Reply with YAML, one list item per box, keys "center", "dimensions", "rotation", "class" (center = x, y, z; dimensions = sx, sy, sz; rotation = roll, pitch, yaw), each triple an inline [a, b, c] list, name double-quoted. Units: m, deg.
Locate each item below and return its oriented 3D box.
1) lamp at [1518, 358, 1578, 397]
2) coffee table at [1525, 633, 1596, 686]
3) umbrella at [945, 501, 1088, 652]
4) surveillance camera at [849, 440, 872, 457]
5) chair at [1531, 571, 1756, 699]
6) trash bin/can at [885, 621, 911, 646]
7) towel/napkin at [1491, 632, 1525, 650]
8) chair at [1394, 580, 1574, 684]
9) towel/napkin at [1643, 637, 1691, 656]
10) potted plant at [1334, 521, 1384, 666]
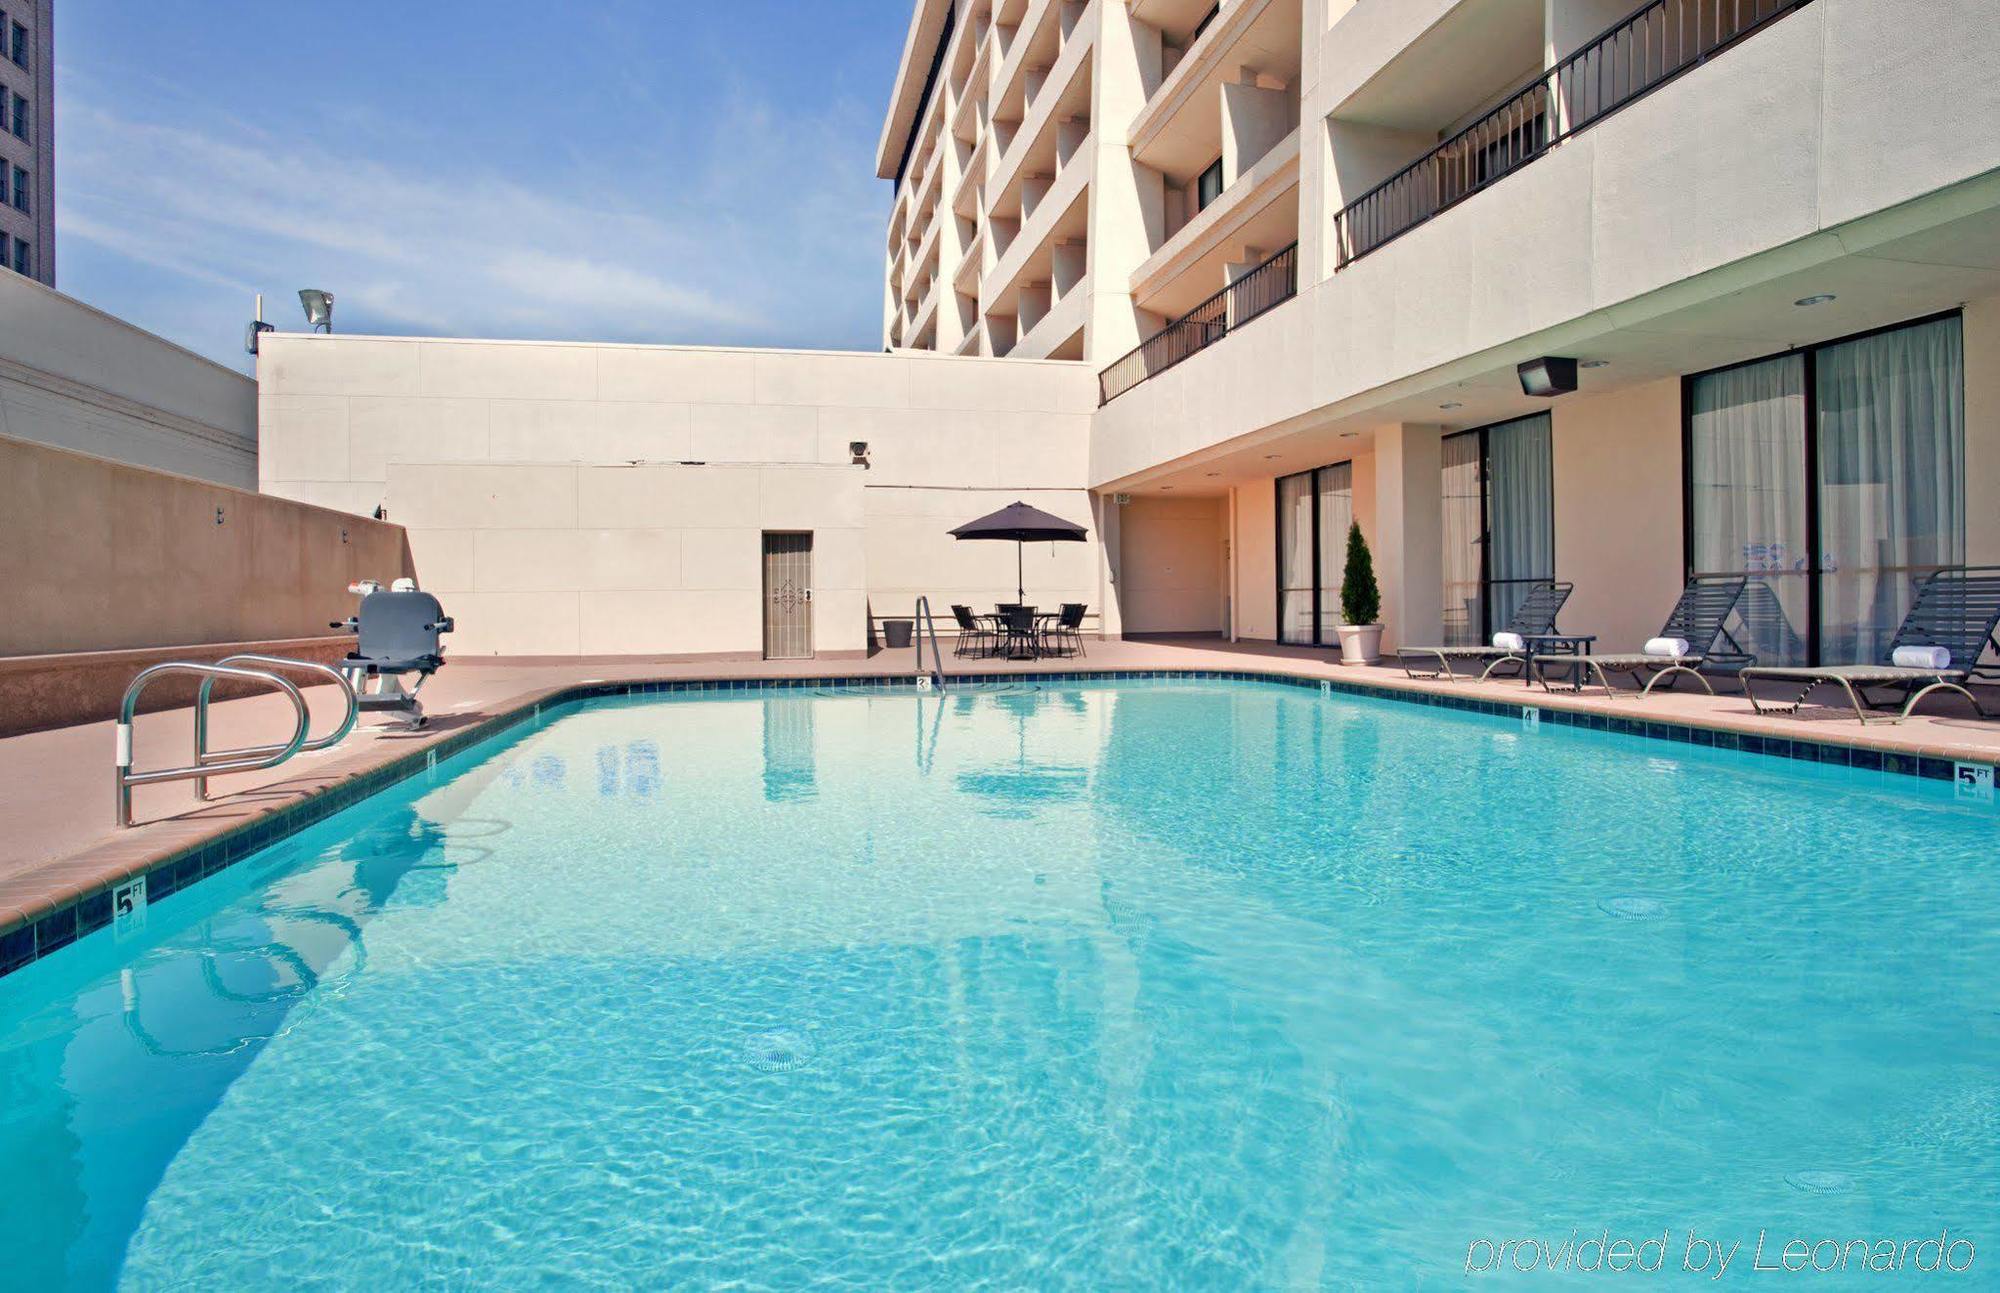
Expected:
- center: [5.459, -2.674, 13.051]
  dimensions: [0.374, 0.354, 0.496]
  rotation: [3, -7, -24]
  class: "lamp"
- center: [5.872, 0.108, 13.761]
  dimensions: [0.660, 0.515, 1.060]
  rotation: [0, 7, -1]
  class: "coffee table"
- center: [0.239, -1.069, 19.085]
  dimensions: [2.034, 1.728, 1.987]
  rotation: [-1, 6, -12]
  class: "umbrella"
- center: [-2.277, -3.283, 21.531]
  dimensions: [0.268, 0.254, 0.254]
  rotation: [-1, -7, -9]
  class: "surveillance camera"
- center: [6.507, -0.145, 12.962]
  dimensions: [2.091, 1.293, 1.126]
  rotation: [0, 0, -6]
  class: "chair"
- center: [-1.587, -0.221, 20.645]
  dimensions: [0.400, 0.468, 0.614]
  rotation: [-2, 7, -6]
  class: "trash bin/can"
- center: [5.155, -0.044, 13.277]
  dimensions: [0.223, 0.219, 0.272]
  rotation: [5, -6, -35]
  class: "towel/napkin"
- center: [5.744, -0.208, 14.638]
  dimensions: [2.129, 1.238, 1.050]
  rotation: [-1, 1, -19]
  class: "chair"
- center: [6.090, -0.001, 12.023]
  dimensions: [0.280, 0.176, 0.553]
  rotation: [2, 8, 21]
  class: "towel/napkin"
- center: [4.334, -0.642, 15.798]
  dimensions: [0.445, 1.698, 0.897]
  rotation: [1, 7, 15]
  class: "potted plant"
